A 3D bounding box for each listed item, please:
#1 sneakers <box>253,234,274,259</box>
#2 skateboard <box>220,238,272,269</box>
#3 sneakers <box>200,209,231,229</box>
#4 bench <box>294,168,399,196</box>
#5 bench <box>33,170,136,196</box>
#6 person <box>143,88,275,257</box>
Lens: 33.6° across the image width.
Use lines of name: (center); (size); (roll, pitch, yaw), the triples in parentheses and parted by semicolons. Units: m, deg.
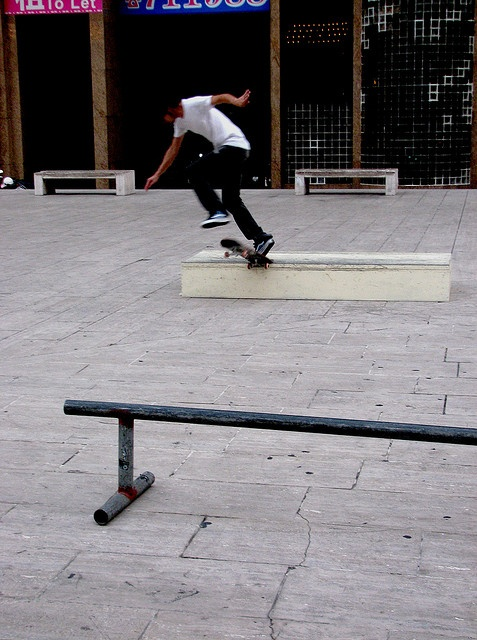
sneakers: (0.271, -0.755, 8.033); (0.109, 0.134, 0.312); (-40, -7, -19)
skateboard: (-0.012, -0.742, 8.342); (0.151, 0.195, 0.890); (-18, 31, -36)
sneakers: (-0.223, -1.046, 8.239); (0.267, 0.184, 0.374); (0, 12, 5)
bench: (2.835, -3.444, 19.644); (2.506, 0.633, 2.017); (5, 13, 27)
bench: (-3.907, -3.606, 20.697); (2.606, 0.650, 1.990); (8, 15, 37)
person: (-0.195, -1.510, 8.213); (1.398, 1.634, 0.692); (11, 18, 42)
